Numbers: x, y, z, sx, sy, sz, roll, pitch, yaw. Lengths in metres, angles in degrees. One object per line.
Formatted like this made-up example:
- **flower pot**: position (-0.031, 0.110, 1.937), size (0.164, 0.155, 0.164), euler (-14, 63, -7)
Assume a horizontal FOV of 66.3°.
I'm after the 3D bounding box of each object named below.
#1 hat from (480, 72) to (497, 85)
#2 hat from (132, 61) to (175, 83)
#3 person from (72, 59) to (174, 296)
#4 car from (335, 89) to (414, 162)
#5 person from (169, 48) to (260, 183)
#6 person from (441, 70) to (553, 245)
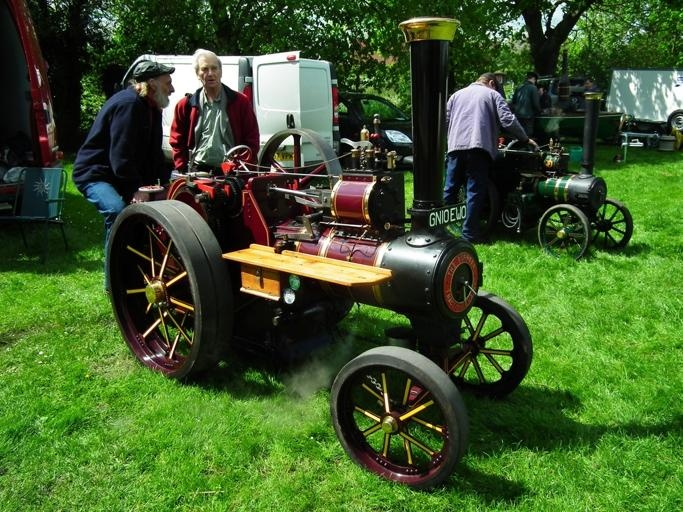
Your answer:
- **hat**: position (1.778, -2.140, 6.380), size (0.158, 0.170, 0.210), euler (6, 18, 12)
- **hat**: position (-1.628, -1.608, 4.566), size (0.329, 0.140, 0.233), euler (-28, 40, -21)
- **person**: position (-1.936, -0.956, 4.664), size (0.906, 1.461, 0.481), euler (-3, 11, -14)
- **car**: position (0.655, -2.630, 10.730), size (1.623, 1.749, 4.358), euler (1, 11, 4)
- **person**: position (-1.148, -1.246, 4.624), size (0.784, 1.016, 0.408), euler (-1, 10, -7)
- **person**: position (1.575, -1.084, 6.026), size (0.761, 1.781, 0.643), euler (2, 10, 11)
